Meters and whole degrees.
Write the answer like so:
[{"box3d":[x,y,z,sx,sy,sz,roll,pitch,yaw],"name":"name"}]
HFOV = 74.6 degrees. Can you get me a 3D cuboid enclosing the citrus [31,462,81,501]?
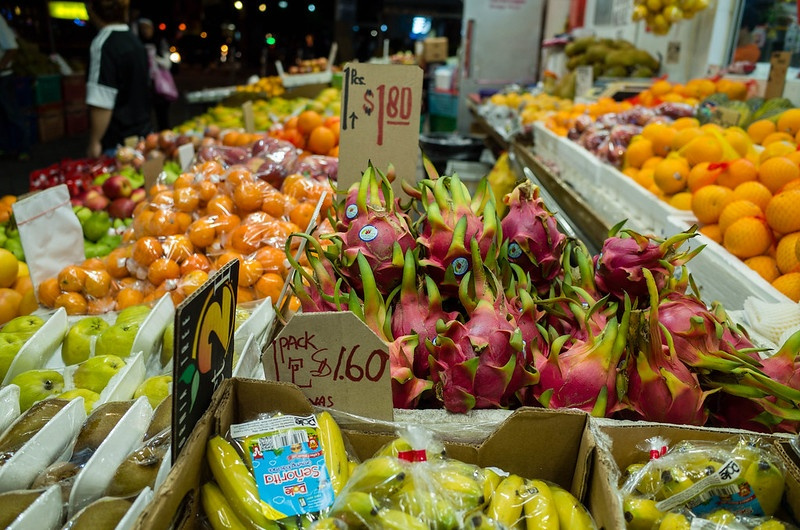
[{"box3d":[-0.999,0.631,1.543,0.131,0.072,0.132,-2,-8,-29],"name":"citrus"}]
